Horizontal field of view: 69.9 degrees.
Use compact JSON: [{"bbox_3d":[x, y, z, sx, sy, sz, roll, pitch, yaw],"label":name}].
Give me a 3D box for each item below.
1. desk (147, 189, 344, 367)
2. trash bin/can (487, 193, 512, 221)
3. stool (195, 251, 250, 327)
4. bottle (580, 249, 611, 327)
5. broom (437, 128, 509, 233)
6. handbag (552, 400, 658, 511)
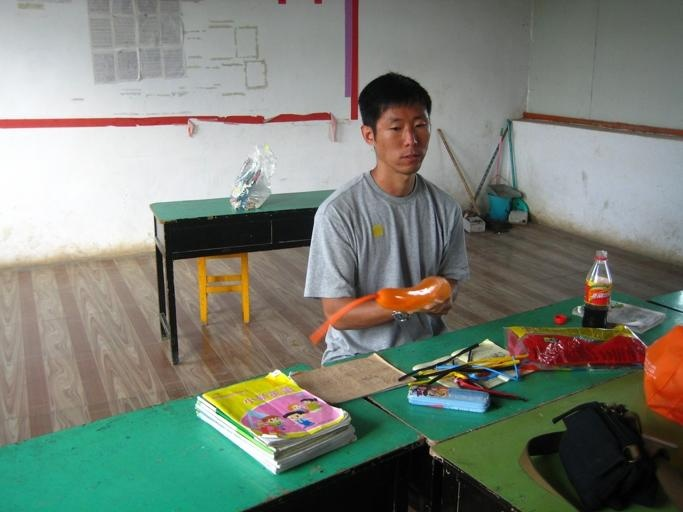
[{"bbox_3d":[-0.605,0.131,3.846,1.513,1.057,0.555,-6,18,-24],"label":"desk"},{"bbox_3d":[2.088,-0.674,6.516,0.357,0.380,0.332,5,14,21],"label":"trash bin/can"},{"bbox_3d":[-0.946,0.200,4.014,0.412,0.699,0.426,-4,17,-27],"label":"stool"},{"bbox_3d":[0.985,0.158,1.870,0.098,0.344,0.100,0,9,0],"label":"bottle"},{"bbox_3d":[1.711,-0.980,6.355,0.273,1.301,0.967,-18,23,-41],"label":"broom"},{"bbox_3d":[0.650,0.462,1.195,0.213,0.181,0.242,0,15,8],"label":"handbag"}]
